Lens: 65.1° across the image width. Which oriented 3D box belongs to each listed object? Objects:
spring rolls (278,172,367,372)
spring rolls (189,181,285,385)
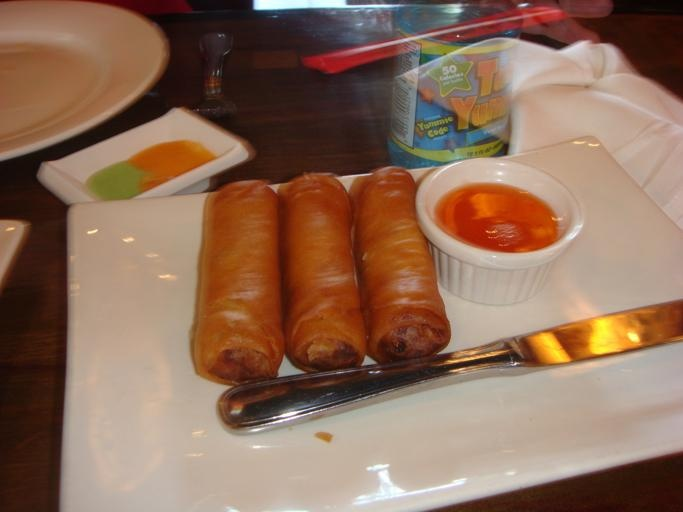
[{"bbox_3d":[-0.028,0.031,0.717,0.134,0.113,0.319,-6,57,2],"label":"spring rolls"},{"bbox_3d":[-0.139,0.026,0.732,0.110,0.088,0.290,-5,51,-1],"label":"spring rolls"}]
